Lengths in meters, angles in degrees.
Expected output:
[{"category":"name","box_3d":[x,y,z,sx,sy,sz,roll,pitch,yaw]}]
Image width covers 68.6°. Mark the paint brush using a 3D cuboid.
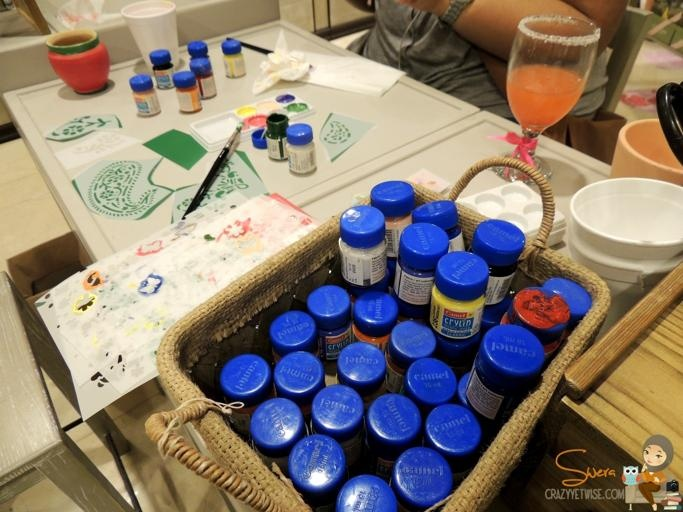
[{"category":"paint brush","box_3d":[-0.254,-0.184,1.074,0.040,0.026,0.347,27,47,-10]}]
